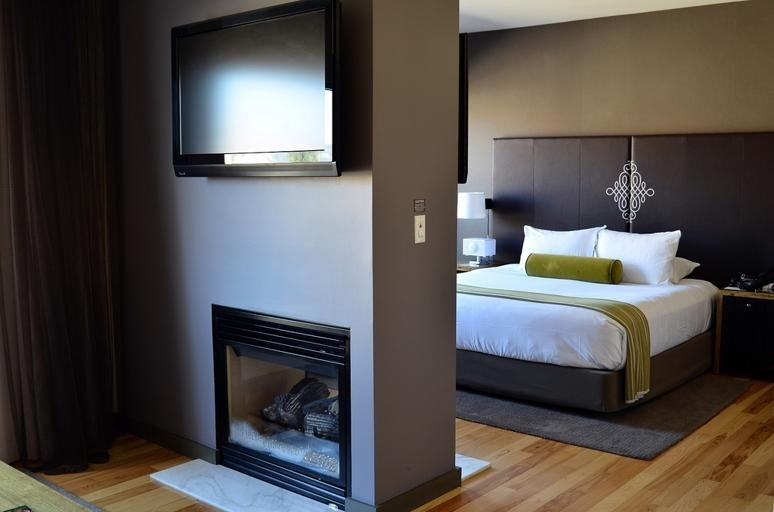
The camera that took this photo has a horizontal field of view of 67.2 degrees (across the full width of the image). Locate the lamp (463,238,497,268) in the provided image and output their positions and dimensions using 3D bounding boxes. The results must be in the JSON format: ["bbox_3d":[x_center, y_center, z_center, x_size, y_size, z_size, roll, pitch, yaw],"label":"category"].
[{"bbox_3d":[1.110,-0.076,7.088,0.344,0.359,0.346,6,10,37],"label":"lamp"}]

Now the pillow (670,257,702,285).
[{"bbox_3d":[2.941,0.132,5.814,0.281,0.301,0.088,22,-6,10],"label":"pillow"}]

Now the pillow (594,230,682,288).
[{"bbox_3d":[2.535,0.051,5.986,0.299,0.664,0.853,15,-7,-39],"label":"pillow"}]

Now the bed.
[{"bbox_3d":[1.379,0.701,4.815,1.344,0.559,1.430,2,6,39],"label":"bed"}]

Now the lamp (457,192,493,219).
[{"bbox_3d":[1.091,-0.533,6.945,0.537,0.419,0.418,0,3,12],"label":"lamp"}]
